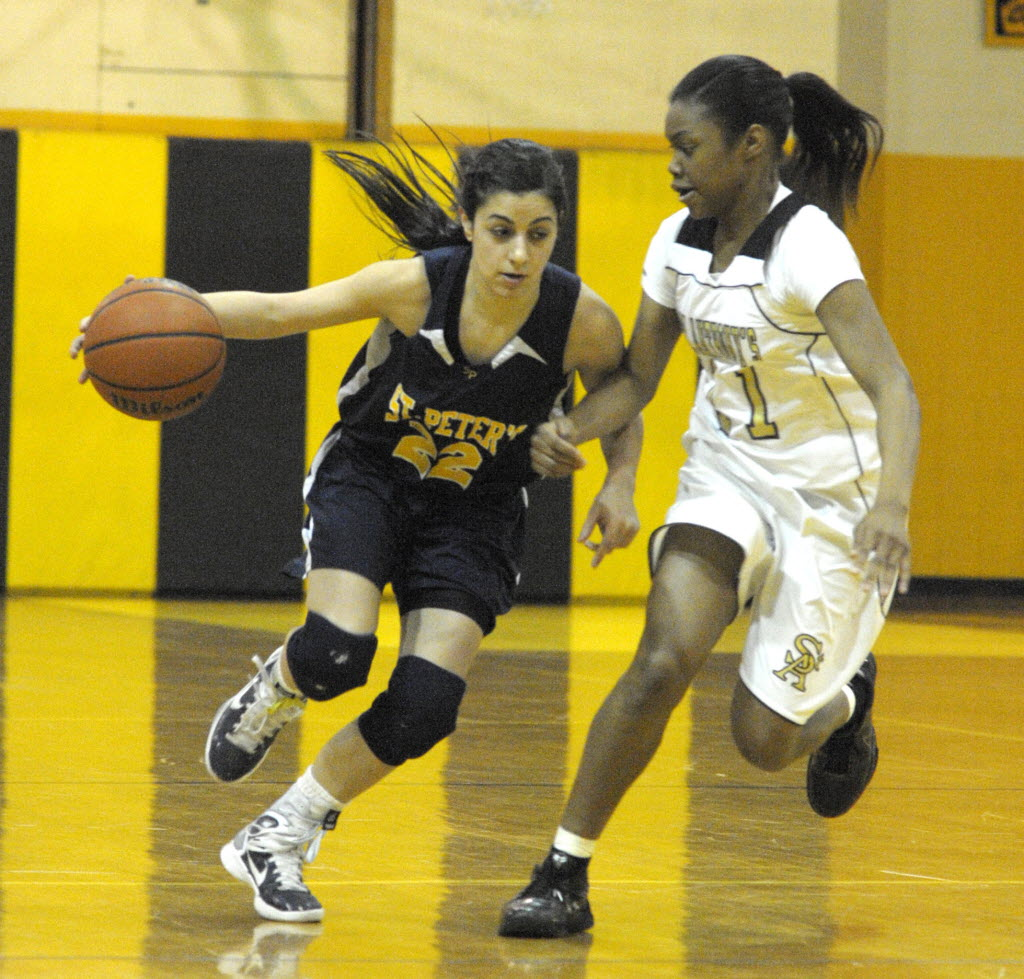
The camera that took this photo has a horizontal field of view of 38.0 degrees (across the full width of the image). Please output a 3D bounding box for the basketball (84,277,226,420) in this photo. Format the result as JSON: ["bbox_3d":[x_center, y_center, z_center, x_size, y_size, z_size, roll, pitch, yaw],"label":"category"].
[{"bbox_3d":[-0.586,-0.251,2.524,0.271,0.227,0.237,-2,10,-7],"label":"basketball"}]

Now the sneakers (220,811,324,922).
[{"bbox_3d":[-0.392,0.624,2.484,0.181,0.146,0.172,2,3,-8],"label":"sneakers"}]

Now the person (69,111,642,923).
[{"bbox_3d":[-0.167,0.035,2.690,0.706,1.316,0.449,0,4,-37],"label":"person"}]

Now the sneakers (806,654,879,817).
[{"bbox_3d":[0.685,0.567,3.105,0.107,0.086,0.275,7,12,7],"label":"sneakers"}]
